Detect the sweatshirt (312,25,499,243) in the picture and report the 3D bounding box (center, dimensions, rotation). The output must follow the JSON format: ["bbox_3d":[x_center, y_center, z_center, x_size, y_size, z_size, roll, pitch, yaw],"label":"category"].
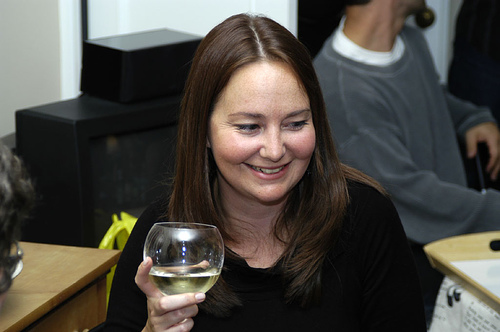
[{"bbox_3d":[0.735,-0.143,2.023,0.859,1.009,0.133,1,13,12],"label":"sweatshirt"}]

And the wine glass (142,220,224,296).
[{"bbox_3d":[-0.167,0.245,1.118,0.185,0.188,0.175,4,14,23],"label":"wine glass"}]

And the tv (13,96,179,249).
[{"bbox_3d":[-0.723,0.029,2.182,0.318,0.591,0.616,8,15,29],"label":"tv"}]
